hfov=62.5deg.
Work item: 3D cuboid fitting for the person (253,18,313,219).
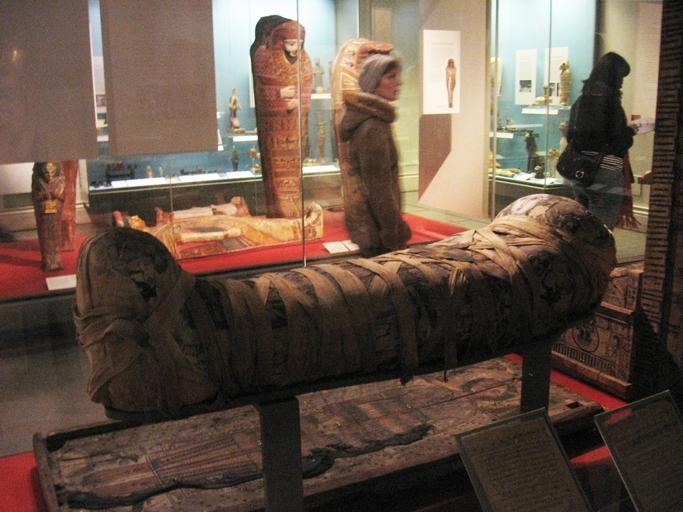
[{"bbox_3d":[-0.382,-0.835,3.512,0.304,1.204,0.244,-10,14,-21],"label":"person"}]

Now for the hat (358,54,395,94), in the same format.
[{"bbox_3d":[0.222,-1.102,3.319,0.205,0.184,0.164,-8,6,6],"label":"hat"}]

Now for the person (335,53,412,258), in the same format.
[{"bbox_3d":[0.185,-0.577,3.362,0.396,1.184,0.246,-5,13,1],"label":"person"}]
